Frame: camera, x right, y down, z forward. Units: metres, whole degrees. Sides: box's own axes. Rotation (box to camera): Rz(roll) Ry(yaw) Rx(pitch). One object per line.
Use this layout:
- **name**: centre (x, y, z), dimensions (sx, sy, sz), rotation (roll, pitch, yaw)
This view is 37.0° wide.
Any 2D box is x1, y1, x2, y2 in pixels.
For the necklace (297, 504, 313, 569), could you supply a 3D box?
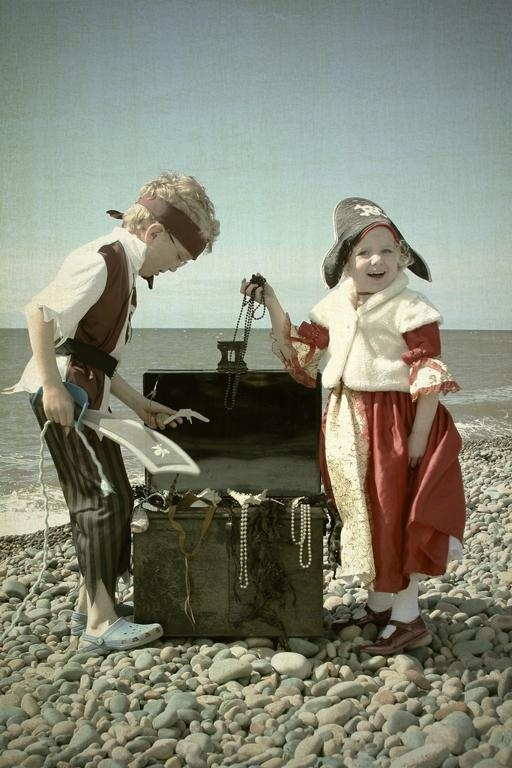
- **necklace**: centre (0.182, 0.563, 2.813), dimensions (0.047, 0.229, 0.045), rotation (0, 8, 5)

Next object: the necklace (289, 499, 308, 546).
- **necklace**: centre (0.161, 0.521, 2.819), dimensions (0.091, 0.127, 0.029), rotation (0, -4, 25)

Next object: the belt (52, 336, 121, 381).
- **belt**: centre (-0.589, -0.093, 2.704), dimensions (0.175, 0.035, 0.113), rotation (18, 4, -6)

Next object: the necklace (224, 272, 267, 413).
- **necklace**: centre (-0.041, -0.163, 3.089), dimensions (0.217, 0.516, 0.193), rotation (-3, 10, -3)

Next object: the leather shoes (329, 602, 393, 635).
- **leather shoes**: centre (0.430, 0.942, 3.048), dimensions (0.296, 0.090, 0.088), rotation (0, -9, 1)

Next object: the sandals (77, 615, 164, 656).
- **sandals**: centre (-0.501, 0.928, 2.791), dimensions (0.408, 0.114, 0.169), rotation (1, 1, -12)

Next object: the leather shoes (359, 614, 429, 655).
- **leather shoes**: centre (0.535, 0.938, 2.877), dimensions (0.292, 0.109, 0.096), rotation (-6, -8, -14)
